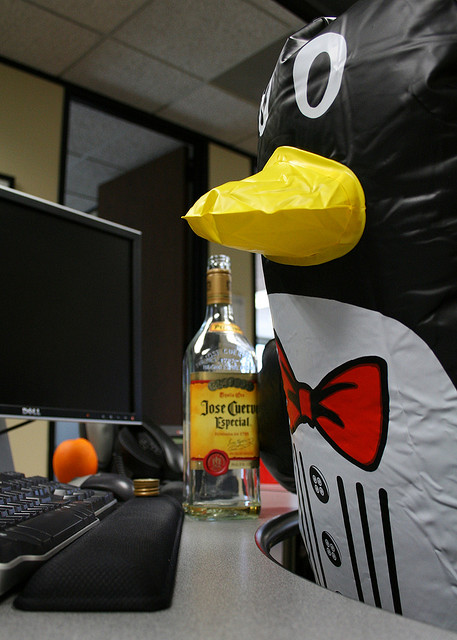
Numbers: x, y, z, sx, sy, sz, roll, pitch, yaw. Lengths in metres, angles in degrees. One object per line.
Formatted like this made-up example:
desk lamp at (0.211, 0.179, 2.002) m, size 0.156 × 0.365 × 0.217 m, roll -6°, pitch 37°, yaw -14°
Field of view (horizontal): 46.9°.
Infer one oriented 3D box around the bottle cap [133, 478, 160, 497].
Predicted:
bottle cap at (-0.095, 0.191, 0.605) m, size 0.022 × 0.013 × 0.022 m, roll 5°, pitch -9°, yaw -34°

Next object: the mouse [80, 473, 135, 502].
mouse at (-0.145, 0.211, 0.670) m, size 0.052 × 0.014 × 0.031 m, roll 1°, pitch -4°, yaw 31°

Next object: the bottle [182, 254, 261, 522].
bottle at (-0.014, 0.076, 0.607) m, size 0.092 × 0.298 × 0.092 m, roll 1°, pitch 1°, yaw 0°

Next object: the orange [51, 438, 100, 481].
orange at (-0.230, 0.199, 0.796) m, size 0.060 × 0.075 × 0.027 m, roll 6°, pitch 0°, yaw -15°
